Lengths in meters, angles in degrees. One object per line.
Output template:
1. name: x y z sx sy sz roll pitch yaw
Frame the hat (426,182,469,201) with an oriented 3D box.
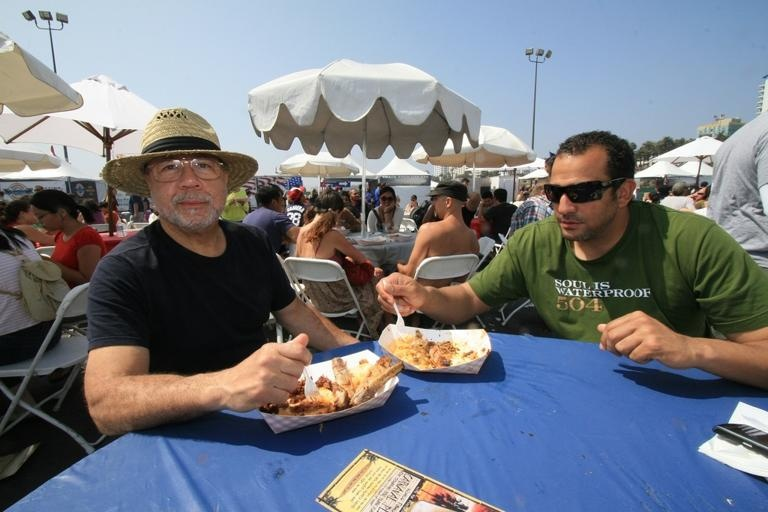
1. hat: 0.713 -0.729 5.230 0.306 0.160 0.237 12 10 25

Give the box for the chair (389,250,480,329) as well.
1. chair: 0.585 0.221 4.735 0.549 0.975 0.679 -4 27 -10

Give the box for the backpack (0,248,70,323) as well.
1. backpack: -2.685 0.264 3.692 0.497 0.508 0.364 -3 5 -3

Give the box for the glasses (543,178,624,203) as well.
1. glasses: 1.141 -0.375 2.740 0.246 0.077 0.230 -12 2 -41

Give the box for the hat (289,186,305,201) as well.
1. hat: -1.597 -1.134 8.422 0.212 0.285 0.262 11 -8 14

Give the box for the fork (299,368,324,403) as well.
1. fork: -0.357 0.660 2.321 0.063 0.203 0.036 -1 -30 -22
